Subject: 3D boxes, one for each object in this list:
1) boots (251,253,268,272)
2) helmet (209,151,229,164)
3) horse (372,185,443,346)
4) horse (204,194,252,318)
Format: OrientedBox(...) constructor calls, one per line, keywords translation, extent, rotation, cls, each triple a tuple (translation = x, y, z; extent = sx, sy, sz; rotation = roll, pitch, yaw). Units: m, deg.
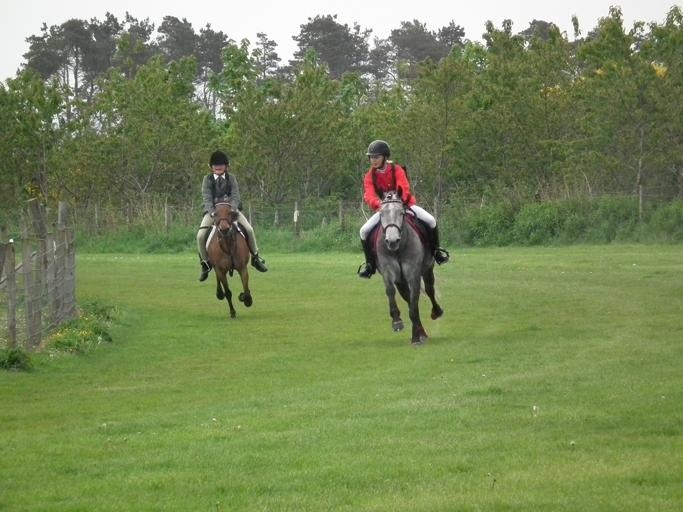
OrientedBox(translation=(-2.087, 0.143, 22.762), extent=(0.311, 0.338, 0.846), rotation=(-27, 19, -12), cls="boots")
OrientedBox(translation=(-2.905, -2.322, 21.630), extent=(0.382, 0.350, 0.496), rotation=(0, -1, -5), cls="helmet")
OrientedBox(translation=(1.182, 0.175, 16.857), extent=(1.062, 2.742, 1.994), rotation=(-2, 6, 5), cls="horse")
OrientedBox(translation=(-2.550, 0.069, 20.632), extent=(0.941, 2.566, 2.088), rotation=(-4, 6, -9), cls="horse")
